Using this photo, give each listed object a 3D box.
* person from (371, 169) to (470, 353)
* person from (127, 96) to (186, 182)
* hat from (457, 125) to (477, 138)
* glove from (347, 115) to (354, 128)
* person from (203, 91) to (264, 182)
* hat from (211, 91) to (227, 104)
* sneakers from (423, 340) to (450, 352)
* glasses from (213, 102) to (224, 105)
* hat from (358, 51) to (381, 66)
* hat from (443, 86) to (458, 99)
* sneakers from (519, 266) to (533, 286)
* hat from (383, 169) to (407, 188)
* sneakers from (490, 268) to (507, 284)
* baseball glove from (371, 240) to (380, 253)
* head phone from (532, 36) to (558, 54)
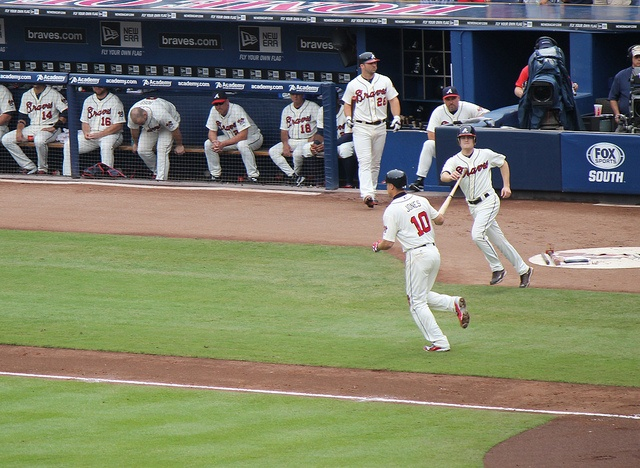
[{"bbox_3d":[1.233,0.346,17.284,1.105,2.243,0.642,-2,7,2],"label":"person"},{"bbox_3d":[-2.792,-1.605,24.024,0.936,1.433,0.633,-4,7,-16],"label":"person"},{"bbox_3d":[1.959,-1.366,18.780,0.256,0.108,0.270,0,-1,4],"label":"hat"},{"bbox_3d":[0.470,-1.736,22.030,0.113,0.199,0.262,-2,6,6],"label":"glove"},{"bbox_3d":[-1.483,-1.623,23.771,0.974,1.557,0.713,-2,7,3],"label":"person"},{"bbox_3d":[-1.664,-2.269,23.516,0.244,0.222,0.356,-2,5,-3],"label":"hat"},{"bbox_3d":[1.435,1.405,17.304,0.332,0.092,0.111,2,7,6],"label":"sneakers"},{"bbox_3d":[-1.684,-2.165,23.447,0.093,0.028,0.078,1,39,14],"label":"glasses"},{"bbox_3d":[0.679,-2.737,21.992,0.409,0.151,0.255,-8,3,21],"label":"hat"},{"bbox_3d":[2.042,-2.217,22.180,0.231,0.120,0.267,-6,2,14],"label":"hat"},{"bbox_3d":[2.743,0.586,18.913,0.205,0.270,0.115,4,26,-11],"label":"sneakers"},{"bbox_3d":[0.955,-0.678,17.228,0.245,0.186,0.259,-13,43,-30],"label":"hat"},{"bbox_3d":[2.398,0.580,18.876,0.123,0.121,0.292,-21,9,40],"label":"sneakers"},{"bbox_3d":[0.680,0.161,17.123,0.081,0.063,0.174,5,18,1],"label":"baseball glove"},{"bbox_3d":[3.565,-2.997,22.284,0.418,0.122,0.389,1,-11,2],"label":"head phone"}]
